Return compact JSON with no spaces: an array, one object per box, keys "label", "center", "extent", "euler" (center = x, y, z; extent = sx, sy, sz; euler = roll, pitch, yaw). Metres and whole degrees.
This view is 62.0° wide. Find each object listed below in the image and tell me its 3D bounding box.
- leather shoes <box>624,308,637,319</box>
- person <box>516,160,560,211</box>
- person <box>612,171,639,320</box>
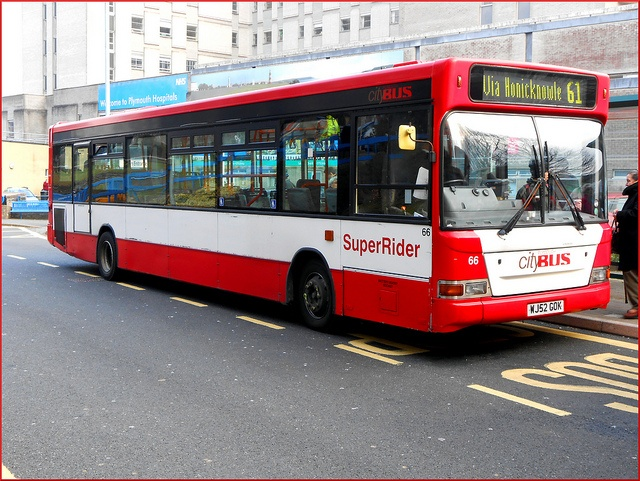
[{"label":"leather shoes","center":[4.964,1.176,8.589],"extent":[0.289,0.126,0.102],"euler":[2,-4,-14]},{"label":"person","center":[3.030,-0.726,7.365],"extent":[0.699,0.720,0.500],"euler":[-16,4,-43]},{"label":"person","center":[5.037,0.043,8.805],"extent":[0.357,2.331,1.029],"euler":[2,5,28]}]
